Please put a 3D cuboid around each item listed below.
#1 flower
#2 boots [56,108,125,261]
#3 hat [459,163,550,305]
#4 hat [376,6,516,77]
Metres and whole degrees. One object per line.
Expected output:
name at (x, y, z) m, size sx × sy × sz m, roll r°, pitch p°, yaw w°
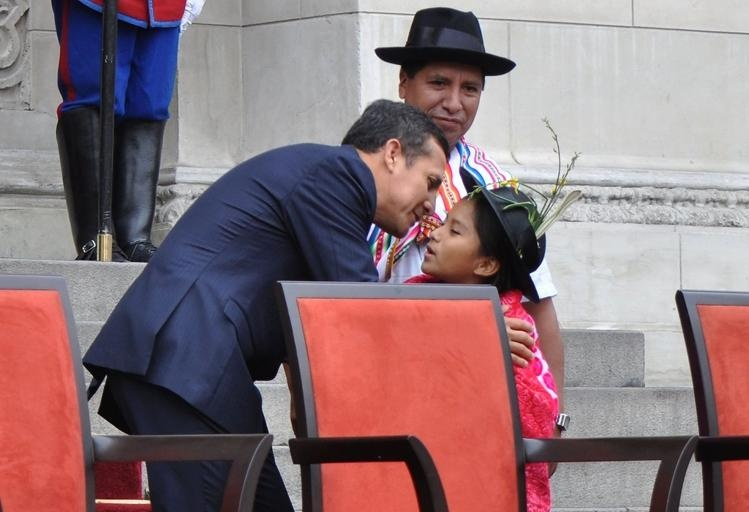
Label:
flower at (0.710, -0.256, 7.174) m, size 0.346 × 0.406 × 0.375 m, roll 12°, pitch -6°, yaw -17°
boots at (-1.271, -0.246, 7.820) m, size 0.333 × 0.859 × 0.319 m, roll -2°, pitch -20°, yaw -4°
hat at (0.627, -0.082, 7.021) m, size 0.174 × 0.444 × 0.371 m, roll -25°, pitch -3°, yaw -9°
hat at (0.358, -0.934, 7.545) m, size 0.405 × 0.143 × 0.358 m, roll 8°, pitch -2°, yaw -13°
